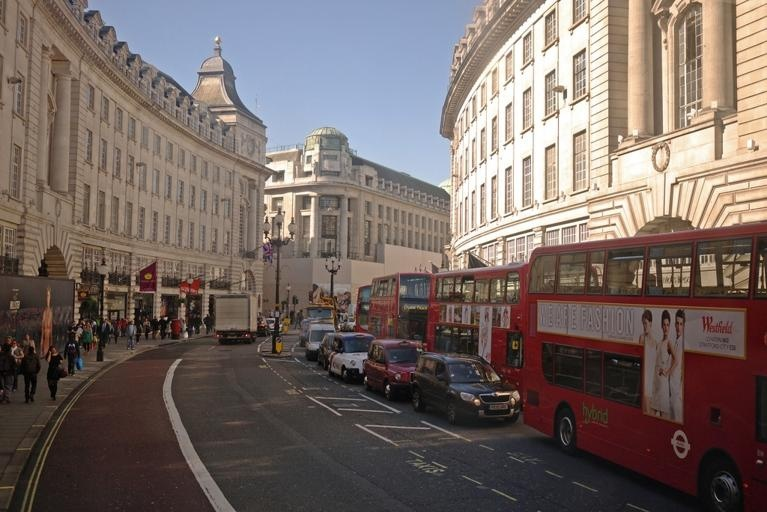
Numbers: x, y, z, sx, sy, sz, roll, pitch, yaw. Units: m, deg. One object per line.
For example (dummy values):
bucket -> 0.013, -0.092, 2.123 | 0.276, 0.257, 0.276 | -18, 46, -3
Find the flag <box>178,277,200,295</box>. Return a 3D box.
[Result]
flag -> -18.208, 2.764, 68.567 | 1.714, 1.641, 0.085 | 1, -3, -15

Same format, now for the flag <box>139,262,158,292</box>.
flag -> -17.323, 1.457, 54.220 | 1.341, 1.995, 0.924 | -8, -10, 42
